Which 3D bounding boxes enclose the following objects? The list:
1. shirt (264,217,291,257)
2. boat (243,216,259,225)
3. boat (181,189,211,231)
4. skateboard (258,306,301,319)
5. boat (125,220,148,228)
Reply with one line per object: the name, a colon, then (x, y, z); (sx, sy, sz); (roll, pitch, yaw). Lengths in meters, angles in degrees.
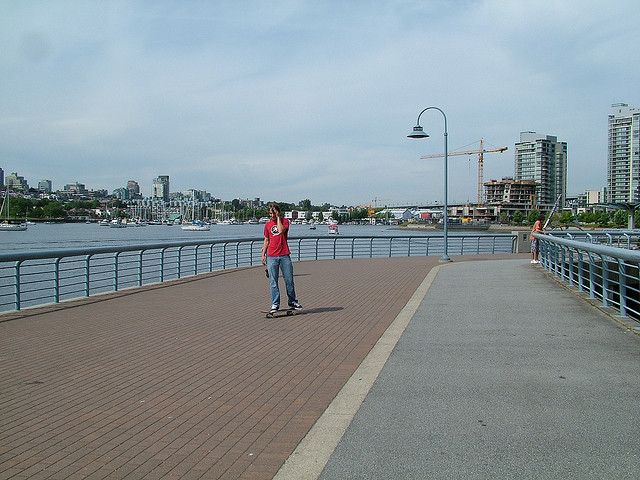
shirt: (-0.812, -0.038, 10.677); (0.439, 0.741, 0.335); (-2, 4, -7)
boat: (-30.063, -8.083, 247.071); (5.882, 3.329, 20.701); (-2, 4, -8)
boat: (-61.001, -13.791, 264.304); (6.065, 8.323, 247.893); (-2, 4, -13)
skateboard: (-0.789, 1.381, 10.431); (0.909, 0.238, 0.157); (0, -5, -5)
boat: (-63.984, -5.166, 196.623); (5.628, 2.160, 9.262); (1, 5, -13)
